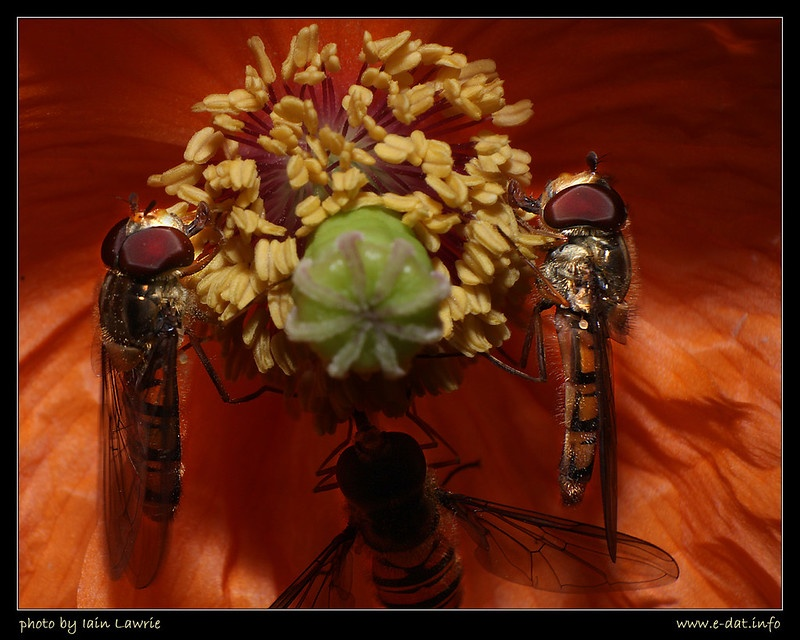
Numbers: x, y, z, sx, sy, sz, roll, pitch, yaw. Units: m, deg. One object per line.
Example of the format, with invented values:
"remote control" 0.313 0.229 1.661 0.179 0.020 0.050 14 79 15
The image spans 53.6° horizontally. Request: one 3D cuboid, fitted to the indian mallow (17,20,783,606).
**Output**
"indian mallow" -0.014 -0.045 2.002 0.584 1.333 0.993 -10 18 -34
